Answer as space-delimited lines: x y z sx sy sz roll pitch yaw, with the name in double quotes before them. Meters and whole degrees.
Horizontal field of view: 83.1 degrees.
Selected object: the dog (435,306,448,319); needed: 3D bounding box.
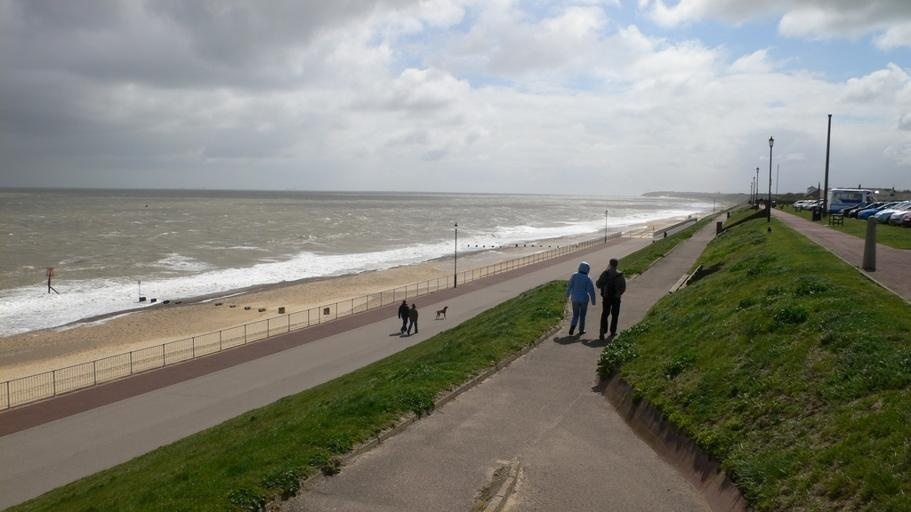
"dog" -1.049 3.924 36.304 0.850 0.793 1.580 -7 10 -6
